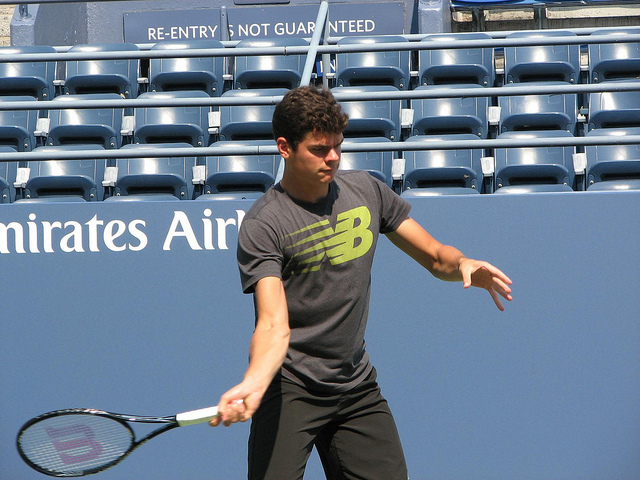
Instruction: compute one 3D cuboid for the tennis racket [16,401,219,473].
[{"bbox_3d":[-1.535,1.400,10.172,1.225,0.481,0.252,2,-1,6],"label":"tennis racket"}]
